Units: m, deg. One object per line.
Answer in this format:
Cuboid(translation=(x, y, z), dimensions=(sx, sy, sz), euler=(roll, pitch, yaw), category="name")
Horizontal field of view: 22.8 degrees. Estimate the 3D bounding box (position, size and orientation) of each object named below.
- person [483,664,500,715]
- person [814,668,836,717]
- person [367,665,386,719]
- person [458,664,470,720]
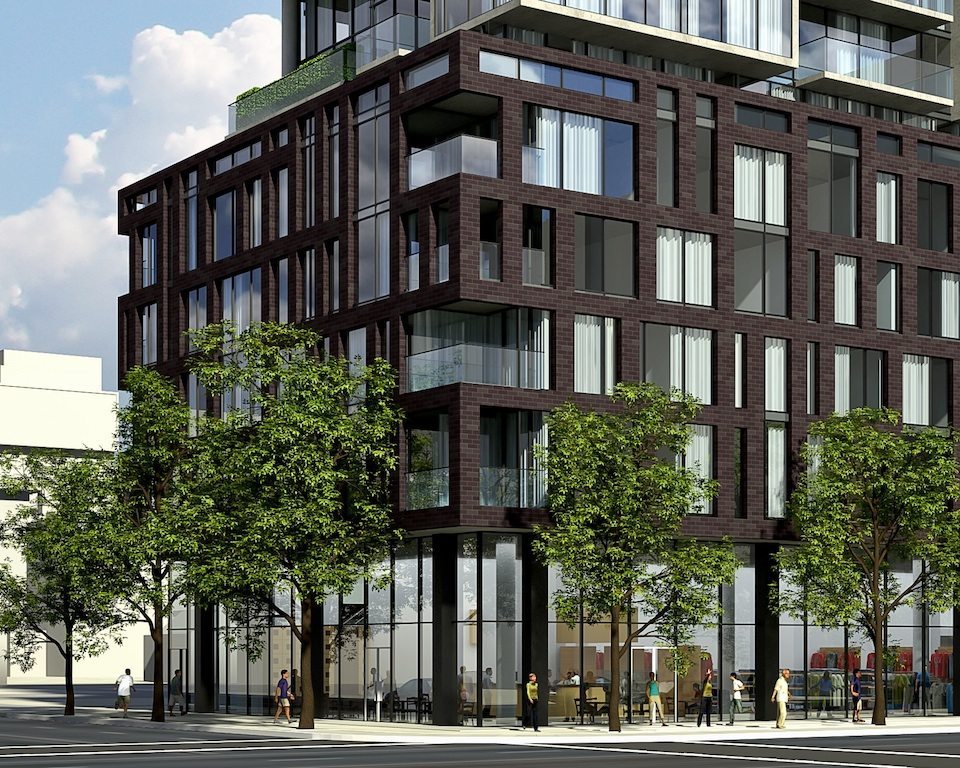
Cuboid(translation=(0.418, 10.939, 83.978), dimensions=(0.498, 1.738, 0.308), euler=(0, -11, -11), category="person")
Cuboid(translation=(13.008, 11.613, 89.266), dimensions=(0.845, 1.749, 0.192), euler=(3, -13, -28), category="person")
Cuboid(translation=(-3.724, 11.378, 87.367), dimensions=(0.249, 1.986, 0.941), euler=(3, -13, -28), category="person")
Cuboid(translation=(-0.551, 10.999, 84.043), dimensions=(0.419, 1.977, 0.190), euler=(-6, -12, 15), category="person")
